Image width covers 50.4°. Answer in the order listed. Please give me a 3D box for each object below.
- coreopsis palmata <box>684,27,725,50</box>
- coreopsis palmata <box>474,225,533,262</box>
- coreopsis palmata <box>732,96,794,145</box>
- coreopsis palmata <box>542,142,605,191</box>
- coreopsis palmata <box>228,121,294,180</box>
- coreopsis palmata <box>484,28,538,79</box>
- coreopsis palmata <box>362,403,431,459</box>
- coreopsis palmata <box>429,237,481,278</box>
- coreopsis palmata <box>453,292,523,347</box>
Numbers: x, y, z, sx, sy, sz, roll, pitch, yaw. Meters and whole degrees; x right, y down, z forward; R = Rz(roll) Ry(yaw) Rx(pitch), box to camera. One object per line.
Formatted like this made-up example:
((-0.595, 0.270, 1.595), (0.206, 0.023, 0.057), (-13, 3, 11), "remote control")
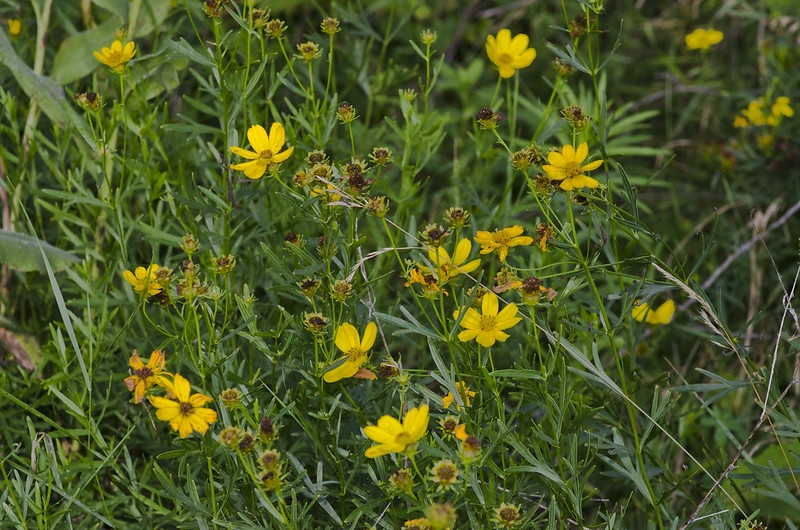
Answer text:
((0.721, -0.547, 2.013), (0.061, 0.029, 0.055), (13, 55, 38), "coreopsis palmata")
((0.198, -0.047, 1.652), (0.097, 0.061, 0.109), (-13, -8, -36), "coreopsis palmata")
((0.814, -0.346, 1.924), (0.039, 0.098, 0.082), (6, 9, -45), "coreopsis palmata")
((0.325, -0.185, 1.611), (0.140, 0.053, 0.135), (10, 3, -16), "coreopsis palmata")
((-0.270, -0.229, 1.655), (0.110, 0.133, 0.056), (-29, 80, -5), "coreopsis palmata")
((0.224, -0.454, 1.782), (0.097, 0.054, 0.105), (12, 0, 34), "coreopsis palmata")
((0.003, 0.299, 1.450), (0.114, 0.060, 0.121), (-15, 0, 20), "coreopsis palmata")
((0.101, -0.007, 1.608), (0.070, 0.028, 0.086), (7, 57, 4), "coreopsis palmata")
((0.159, 0.114, 1.565), (0.116, 0.039, 0.118), (15, 48, 30), "coreopsis palmata")
